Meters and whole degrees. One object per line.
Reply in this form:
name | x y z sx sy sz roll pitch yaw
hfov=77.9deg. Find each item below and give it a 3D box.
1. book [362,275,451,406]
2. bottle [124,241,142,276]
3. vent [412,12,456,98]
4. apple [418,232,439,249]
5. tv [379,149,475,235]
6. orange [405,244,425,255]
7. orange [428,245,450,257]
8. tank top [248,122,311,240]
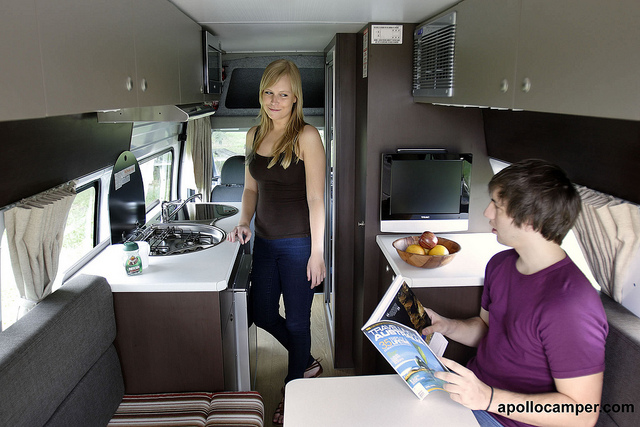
book | 0.312 0.459 1.441 0.309 0.325 0.082 -37 -3 -42
bottle | -1.028 0.248 2.164 0.086 0.183 0.046 -6 12 -27
vent | 0.727 -0.929 2.340 0.187 0.433 0.515 -4 14 -13
apple | 0.656 0.164 2.427 0.106 0.086 0.081 16 -7 -7
tv | 0.709 -0.164 2.666 0.583 0.554 0.067 0 7 -2
orange | 0.552 0.208 2.294 0.063 0.063 0.064 -10 28 -8
orange | 0.685 0.218 2.292 0.081 0.070 0.069 32 -3 -28
tank top | -0.249 -0.189 2.641 0.439 0.787 0.332 4 0 19
